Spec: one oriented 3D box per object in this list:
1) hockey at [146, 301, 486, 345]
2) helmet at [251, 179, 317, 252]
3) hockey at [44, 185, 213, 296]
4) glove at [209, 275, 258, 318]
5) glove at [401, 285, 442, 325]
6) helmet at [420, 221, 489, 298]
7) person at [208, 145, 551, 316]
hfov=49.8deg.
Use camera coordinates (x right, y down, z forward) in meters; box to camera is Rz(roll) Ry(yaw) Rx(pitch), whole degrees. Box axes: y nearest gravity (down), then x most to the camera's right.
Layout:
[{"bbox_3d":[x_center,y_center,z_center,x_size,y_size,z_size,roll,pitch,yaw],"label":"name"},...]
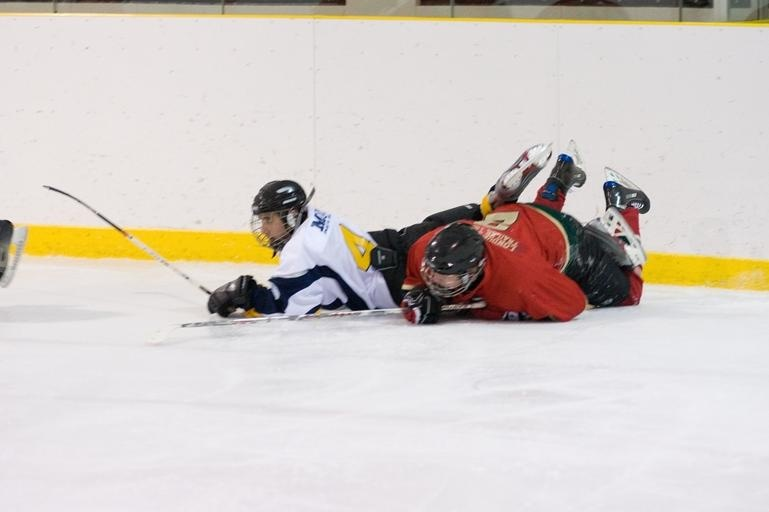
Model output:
[{"bbox_3d":[-0.441,0.471,5.724,3.034,0.145,0.255,0,-8,-13],"label":"hockey"},{"bbox_3d":[-0.856,-0.327,6.102,0.538,0.465,0.390,-16,16,-14],"label":"helmet"},{"bbox_3d":[-2.376,-0.117,7.734,0.221,1.617,0.034,-38,34,15],"label":"hockey"},{"bbox_3d":[-1.047,0.282,5.827,0.339,0.170,0.234,-31,15,11],"label":"glove"},{"bbox_3d":[0.263,0.359,5.802,0.302,0.257,0.213,-3,7,9],"label":"glove"},{"bbox_3d":[0.481,0.038,5.593,0.409,0.516,0.240,-3,3,-27],"label":"helmet"},{"bbox_3d":[-0.031,-0.115,6.188,2.629,1.022,0.798,-7,17,-7],"label":"person"}]
